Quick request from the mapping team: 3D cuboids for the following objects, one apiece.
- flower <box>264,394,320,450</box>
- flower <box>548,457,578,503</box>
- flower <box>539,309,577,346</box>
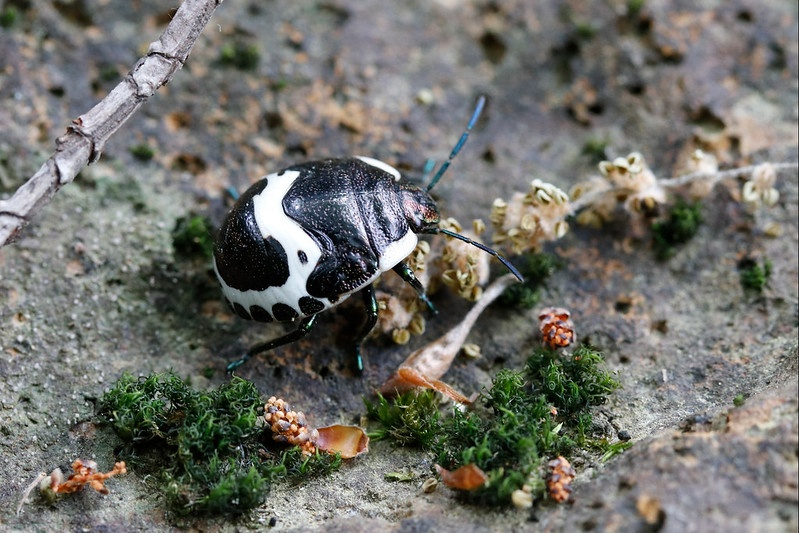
[{"bbox_3d":[-0.809,1.208,6.243,0.522,0.246,0.232,43,62,-11],"label":"flower"},{"bbox_3d":[1.133,1.494,5.815,0.157,0.138,0.283,0,52,2],"label":"flower"},{"bbox_3d":[1.220,0.458,6.484,0.209,0.170,0.319,-9,39,-17],"label":"flower"}]
